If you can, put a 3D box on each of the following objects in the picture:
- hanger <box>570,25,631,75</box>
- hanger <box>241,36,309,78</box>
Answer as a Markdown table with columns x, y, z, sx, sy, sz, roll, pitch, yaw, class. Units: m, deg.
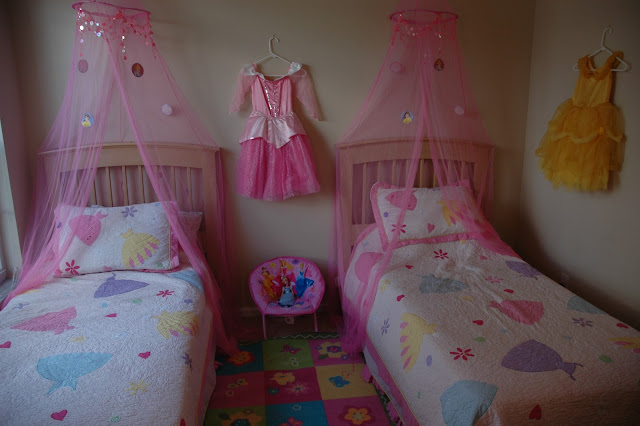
| x | y | z | sx | sy | sz | roll | pitch | yaw | class |
| --- | --- | --- | --- | --- | --- | --- | --- | --- | --- |
| 2.133 | -1.220 | 3.475 | 0.015 | 0.298 | 0.423 | 2 | 12 | -23 | hanger |
| -0.396 | -1.295 | 3.839 | 0.358 | 0.259 | 0.009 | -2 | 22 | -8 | hanger |
